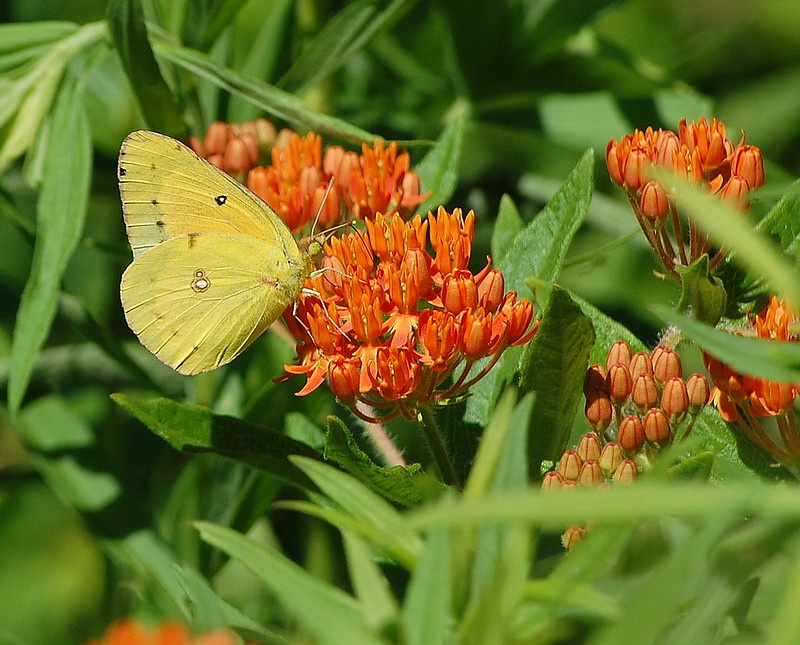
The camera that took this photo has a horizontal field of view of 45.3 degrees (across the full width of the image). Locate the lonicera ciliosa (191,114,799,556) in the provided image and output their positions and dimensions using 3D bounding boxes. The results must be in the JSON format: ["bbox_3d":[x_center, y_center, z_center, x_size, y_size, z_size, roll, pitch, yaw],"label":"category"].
[{"bbox_3d":[0.112,-0.037,1.262,0.781,0.400,0.547,-3,24,6],"label":"lonicera ciliosa"}]

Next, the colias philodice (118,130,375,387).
[{"bbox_3d":[-0.240,-0.093,1.586,0.319,0.323,0.424,-18,-2,0],"label":"colias philodice"}]
